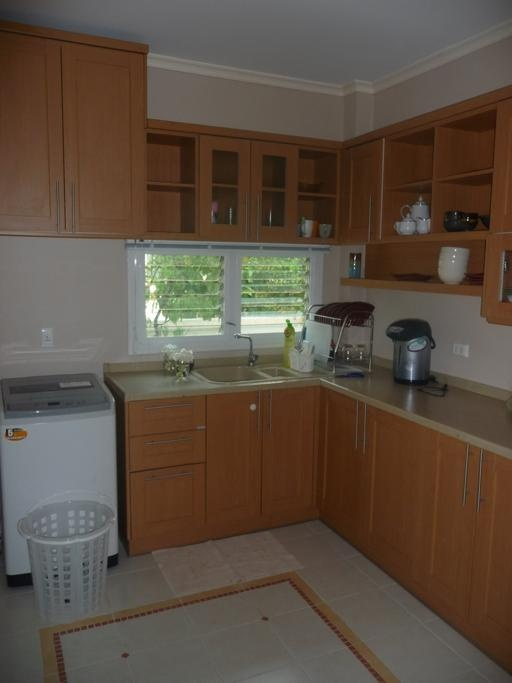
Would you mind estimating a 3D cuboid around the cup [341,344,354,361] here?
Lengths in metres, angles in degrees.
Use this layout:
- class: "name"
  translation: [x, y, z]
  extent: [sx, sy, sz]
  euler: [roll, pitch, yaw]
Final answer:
- class: "cup"
  translation: [0.571, 0.066, 3.285]
  extent: [0.074, 0.106, 0.087]
  euler: [1, -1, -2]

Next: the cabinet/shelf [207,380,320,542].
- class: "cabinet/shelf"
  translation: [0.017, 0.625, 2.843]
  extent: [0.721, 0.934, 0.460]
  euler: [-3, 6, -24]

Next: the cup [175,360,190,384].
- class: "cup"
  translation: [-0.401, 0.157, 2.841]
  extent: [0.089, 0.156, 0.090]
  euler: [4, 4, 0]

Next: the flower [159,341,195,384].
- class: "flower"
  translation: [-0.426, 0.113, 2.961]
  extent: [0.176, 0.173, 0.183]
  euler: [1, -1, 32]

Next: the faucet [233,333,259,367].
- class: "faucet"
  translation: [-0.050, 0.054, 3.254]
  extent: [0.158, 0.203, 0.291]
  euler: [0, 5, -9]

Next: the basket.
- class: "basket"
  translation: [-0.779, 0.837, 2.225]
  extent: [0.408, 0.436, 0.411]
  euler: [-9, 20, -40]

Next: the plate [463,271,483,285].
- class: "plate"
  translation: [0.976, -0.283, 2.351]
  extent: [0.072, 0.033, 0.076]
  euler: [3, 12, 20]

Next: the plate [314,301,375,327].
- class: "plate"
  translation: [0.552, -0.181, 3.218]
  extent: [0.253, 0.097, 0.203]
  euler: [-8, 10, -38]

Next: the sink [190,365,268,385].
- class: "sink"
  translation: [-0.176, 0.196, 3.198]
  extent: [0.236, 0.092, 0.186]
  euler: [0, 9, -26]

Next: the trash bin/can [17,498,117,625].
- class: "trash bin/can"
  translation: [-0.771, 0.846, 2.236]
  extent: [0.406, 0.435, 0.413]
  euler: [-8, 20, -40]

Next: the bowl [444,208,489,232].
- class: "bowl"
  translation: [0.946, -0.518, 2.346]
  extent: [0.150, 0.091, 0.138]
  euler: [0, 8, 0]

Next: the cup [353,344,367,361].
- class: "cup"
  translation: [0.653, 0.066, 3.296]
  extent: [0.067, 0.130, 0.071]
  euler: [0, 9, 0]

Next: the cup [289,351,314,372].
- class: "cup"
  translation: [0.272, 0.112, 3.147]
  extent: [0.117, 0.121, 0.131]
  euler: [-3, 11, -15]
